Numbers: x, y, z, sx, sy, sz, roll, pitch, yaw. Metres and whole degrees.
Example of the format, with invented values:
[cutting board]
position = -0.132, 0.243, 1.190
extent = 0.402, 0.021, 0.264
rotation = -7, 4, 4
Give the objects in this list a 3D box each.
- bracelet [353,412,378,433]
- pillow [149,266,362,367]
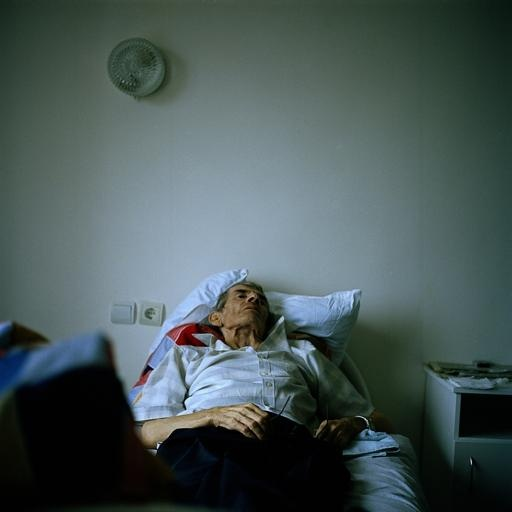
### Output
[bracelet]
position = 0.339, 0.511, 1.591
extent = 0.018, 0.064, 0.064
rotation = -33, -6, 0
[pillow]
position = 0.048, 0.189, 1.875
extent = 0.436, 0.156, 0.470
rotation = 13, 45, 9
